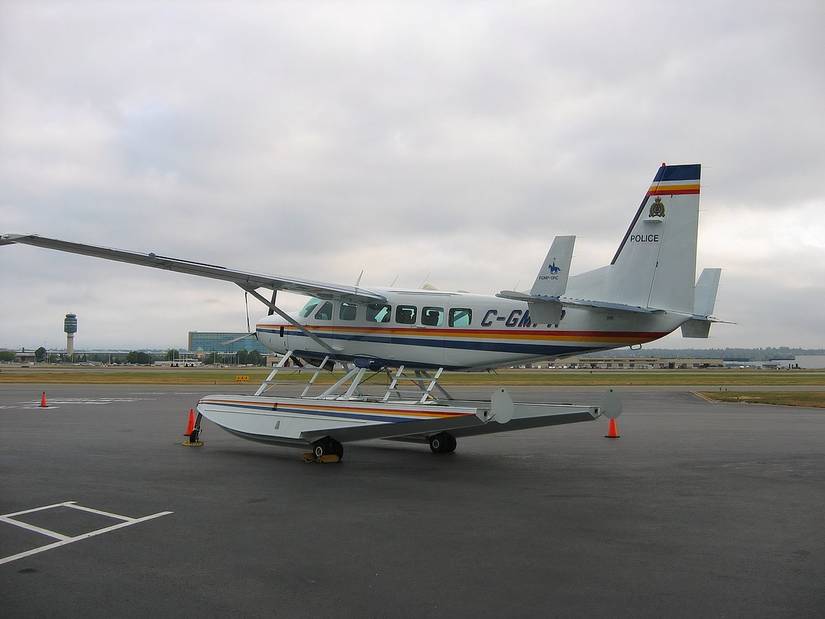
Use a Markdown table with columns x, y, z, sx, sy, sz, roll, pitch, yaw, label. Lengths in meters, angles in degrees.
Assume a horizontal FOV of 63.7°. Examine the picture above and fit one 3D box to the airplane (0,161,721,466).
| x | y | z | sx | sy | sz | roll | pitch | yaw | label |
| --- | --- | --- | --- | --- | --- | --- | --- | --- | --- |
| 0.840 | 0.197 | 14.769 | 10.673 | 6.510 | 3.495 | 3 | -3 | 17 | airplane |
